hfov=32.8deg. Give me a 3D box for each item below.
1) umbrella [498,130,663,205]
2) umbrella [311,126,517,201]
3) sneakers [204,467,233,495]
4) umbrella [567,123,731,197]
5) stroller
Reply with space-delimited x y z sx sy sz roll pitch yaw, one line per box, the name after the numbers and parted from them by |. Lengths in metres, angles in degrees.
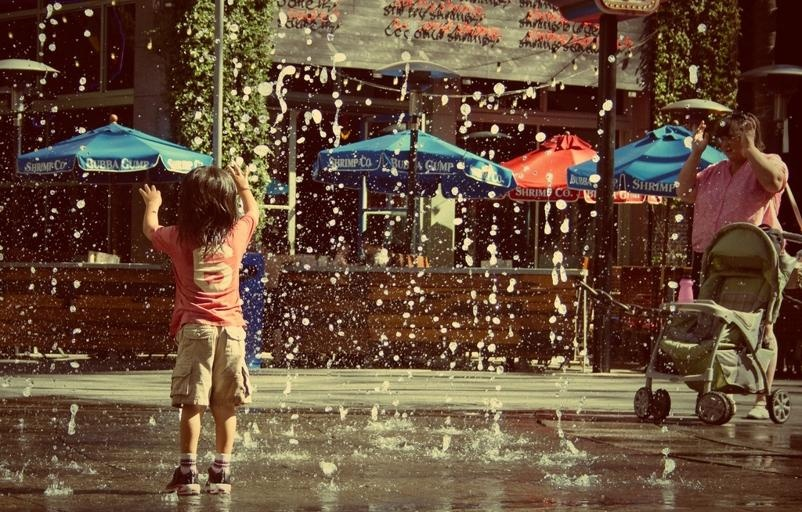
2.419 -1.527 20.545 2.085 0.697 2.105 2 22 27 | umbrella
0.170 -1.225 18.975 2.705 1.043 2.038 0 12 -2 | umbrella
-1.604 1.948 11.961 0.236 0.217 0.162 -2 13 -9 | sneakers
3.235 -1.216 17.608 1.515 0.663 1.518 0 2 6 | umbrella
3.321 0.679 14.003 1.424 2.029 0.743 3 13 16 | stroller
